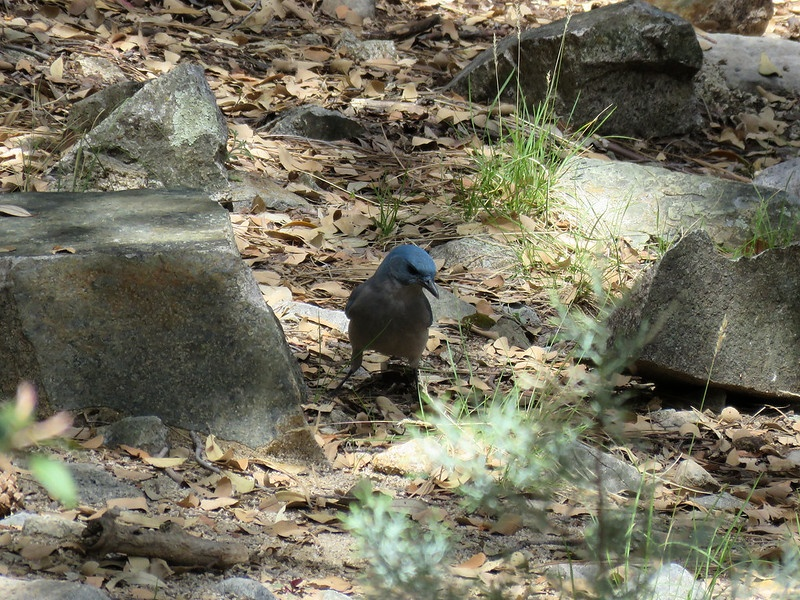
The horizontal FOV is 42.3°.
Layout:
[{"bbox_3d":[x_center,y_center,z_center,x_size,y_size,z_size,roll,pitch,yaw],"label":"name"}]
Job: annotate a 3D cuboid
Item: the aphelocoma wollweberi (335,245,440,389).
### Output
[{"bbox_3d":[-0.068,0.098,6.006,0.498,0.863,0.287,8,13,-4],"label":"aphelocoma wollweberi"}]
